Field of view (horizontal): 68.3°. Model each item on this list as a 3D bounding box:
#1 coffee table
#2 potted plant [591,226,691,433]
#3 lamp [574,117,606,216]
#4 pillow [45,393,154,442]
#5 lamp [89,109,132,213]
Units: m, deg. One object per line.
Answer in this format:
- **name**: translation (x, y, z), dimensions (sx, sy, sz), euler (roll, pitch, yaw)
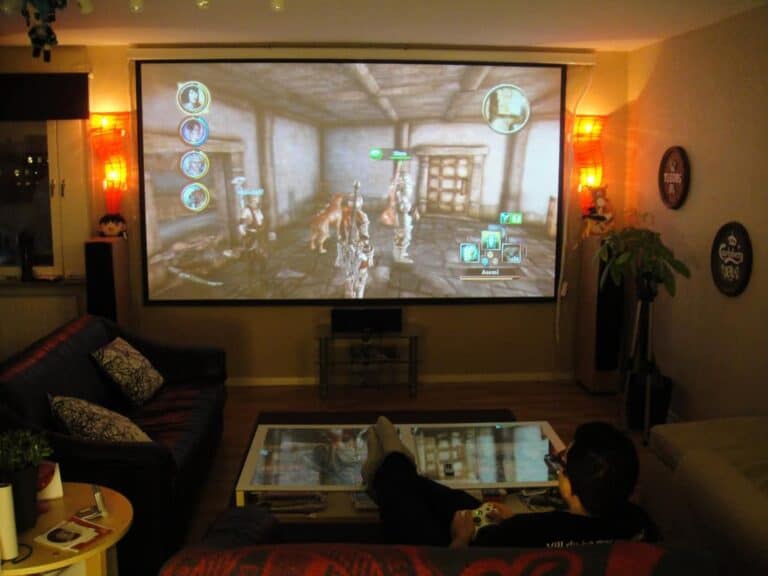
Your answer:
- **coffee table**: translation (0.096, 0.952, 3.258), dimensions (1.035, 0.238, 0.423), euler (1, 25, -2)
- **potted plant**: translation (2.012, 0.300, 4.575), dimensions (0.700, 1.570, 0.942), euler (6, 11, 20)
- **lamp**: translation (1.860, -1.129, 5.226), dimensions (0.278, 0.873, 0.143), euler (4, 11, 11)
- **pillow**: translation (-1.578, 0.715, 3.127), dimensions (0.459, 0.231, 0.318), euler (9, 13, 33)
- **lamp**: translation (-2.411, -1.103, 5.008), dimensions (0.331, 0.880, 0.164), euler (-1, 11, -17)
